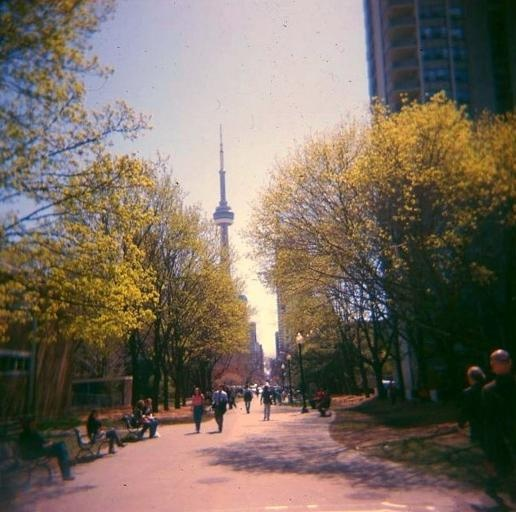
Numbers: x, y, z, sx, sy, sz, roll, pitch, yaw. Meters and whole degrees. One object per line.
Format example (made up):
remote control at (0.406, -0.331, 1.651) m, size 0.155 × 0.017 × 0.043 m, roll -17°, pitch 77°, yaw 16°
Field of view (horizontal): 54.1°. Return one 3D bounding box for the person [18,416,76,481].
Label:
person at (-4.224, 3.832, 10.048) m, size 1.010 × 1.161 × 1.094 m, roll 4°, pitch -12°, yaw -27°

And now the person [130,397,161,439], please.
person at (-4.169, 5.957, 18.591) m, size 0.889 × 1.296 × 2.667 m, roll 1°, pitch -13°, yaw -14°

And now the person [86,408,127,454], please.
person at (-4.142, 4.756, 13.457) m, size 0.617 × 1.422 × 0.644 m, roll -8°, pitch -25°, yaw -22°
